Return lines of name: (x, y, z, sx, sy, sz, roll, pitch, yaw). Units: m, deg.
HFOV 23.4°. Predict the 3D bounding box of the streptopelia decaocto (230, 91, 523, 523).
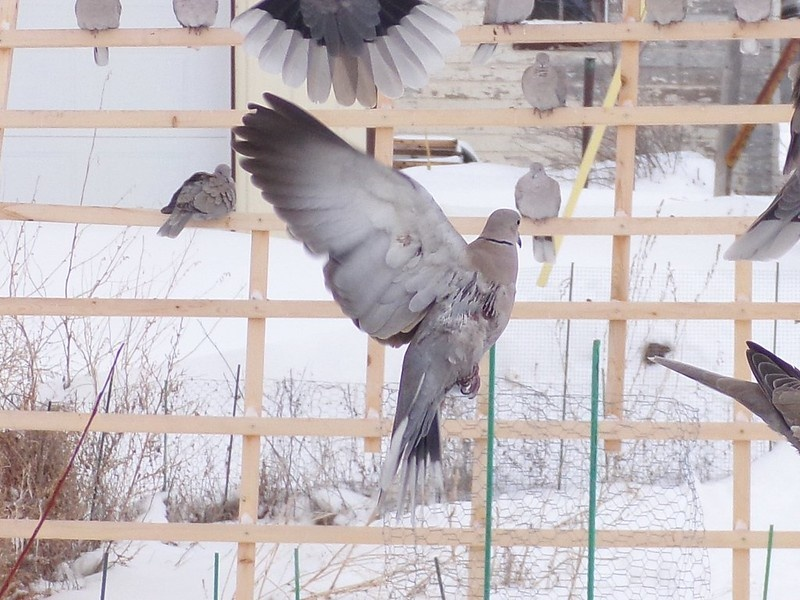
streptopelia decaocto: (-0.258, -0.283, 13.396, 1.617, 3.107, 1.832, 5, 14, -21)
